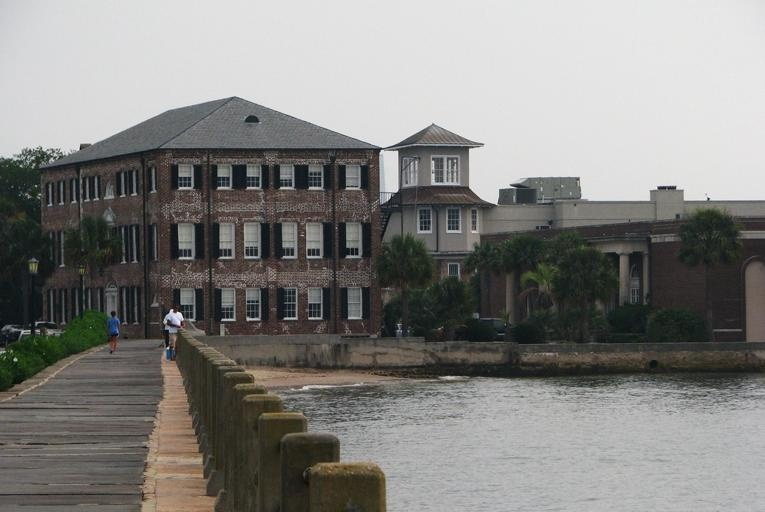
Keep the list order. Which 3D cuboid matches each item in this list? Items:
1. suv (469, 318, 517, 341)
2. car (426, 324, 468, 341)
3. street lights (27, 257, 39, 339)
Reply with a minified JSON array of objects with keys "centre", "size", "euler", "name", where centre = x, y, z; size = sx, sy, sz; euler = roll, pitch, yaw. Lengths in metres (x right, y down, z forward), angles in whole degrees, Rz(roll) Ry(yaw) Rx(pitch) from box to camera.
[{"centre":[7.058,4.863,119.860],"size":[2.824,0.909,1.362],"euler":[-2,2,-28],"name":"suv"},{"centre":[4.126,5.027,118.035],"size":[1.561,0.975,1.565],"euler":[-3,-3,40],"name":"car"},{"centre":[-19.623,2.285,102.905],"size":[0.892,4.349,0.812],"euler":[2,5,-7],"name":"street lights"}]
